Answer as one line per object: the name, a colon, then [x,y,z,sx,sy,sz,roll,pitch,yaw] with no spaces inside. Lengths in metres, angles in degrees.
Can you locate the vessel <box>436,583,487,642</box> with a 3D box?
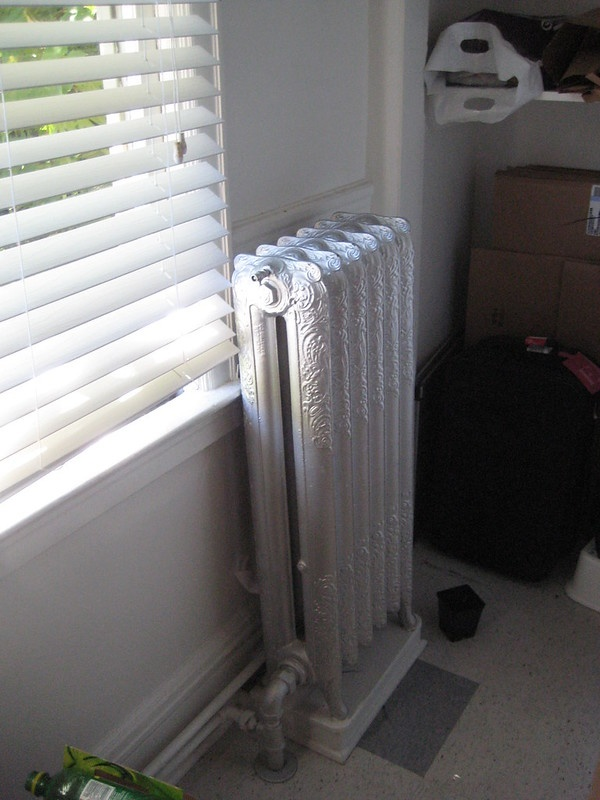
vessel: [0.362,0.503,1.635,0.137,0.144,0.123,6,-9,-31]

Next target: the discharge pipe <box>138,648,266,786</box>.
discharge pipe: [-0.177,0.589,1.333,0.075,0.097,0.289,35,56,13]

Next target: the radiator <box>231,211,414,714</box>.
radiator: [0.073,0.139,1.300,0.253,0.900,0.397,16,31,29]

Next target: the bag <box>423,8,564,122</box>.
bag: [0.416,-0.764,1.567,0.244,0.107,0.325,6,45,18]
